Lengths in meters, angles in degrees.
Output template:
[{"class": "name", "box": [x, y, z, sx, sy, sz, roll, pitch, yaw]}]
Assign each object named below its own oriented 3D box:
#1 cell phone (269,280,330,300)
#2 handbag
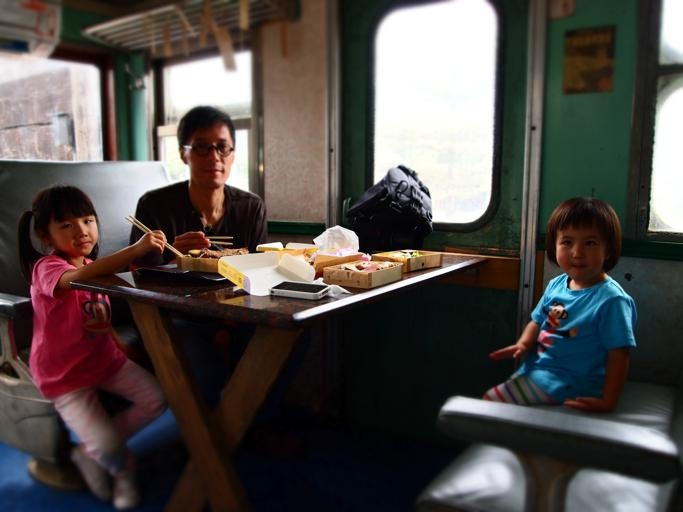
[{"class": "cell phone", "box": [-0.135, 0.107, 1.666, 0.180, 0.041, 0.106, 7, 10, 26]}, {"class": "handbag", "box": [0.274, -0.266, 2.617, 0.367, 0.425, 0.363, 11, 9, 38]}]
